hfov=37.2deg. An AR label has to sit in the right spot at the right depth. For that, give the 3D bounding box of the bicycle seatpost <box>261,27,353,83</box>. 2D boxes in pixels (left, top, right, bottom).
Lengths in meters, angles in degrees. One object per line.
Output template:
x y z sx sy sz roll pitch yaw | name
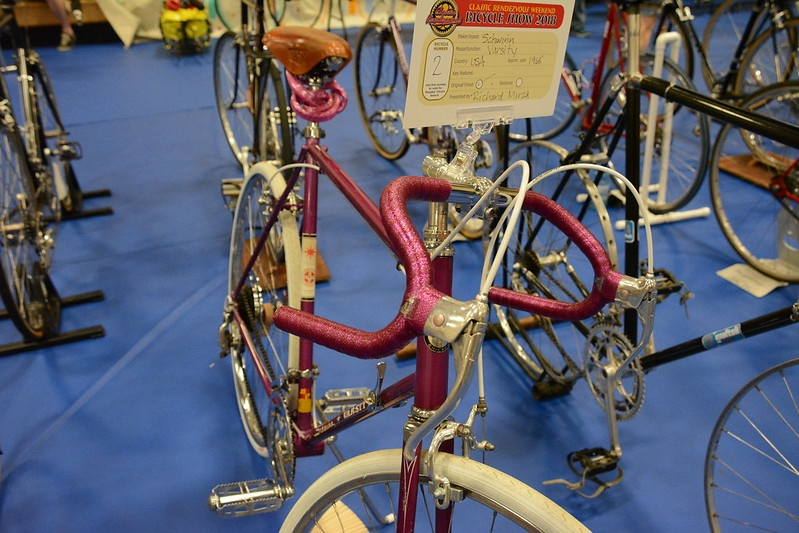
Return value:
-0.489 -1.186 6.477 0.382 0.219 0.273 22 39 12 | bicycle seatpost

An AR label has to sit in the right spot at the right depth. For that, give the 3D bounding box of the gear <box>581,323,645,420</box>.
1.248 0.598 6.942 0.081 0.546 0.449 -4 11 -21 | gear

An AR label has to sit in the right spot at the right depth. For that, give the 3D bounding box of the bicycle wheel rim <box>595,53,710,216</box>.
1.669 -0.833 7.960 0.257 0.588 1.273 5 72 -22 | bicycle wheel rim

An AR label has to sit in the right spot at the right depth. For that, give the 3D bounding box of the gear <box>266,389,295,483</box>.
-0.664 0.924 6.650 0.048 0.341 0.412 -3 70 -21 | gear
